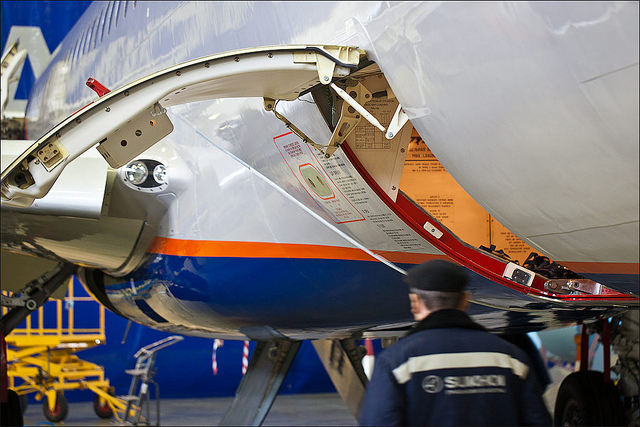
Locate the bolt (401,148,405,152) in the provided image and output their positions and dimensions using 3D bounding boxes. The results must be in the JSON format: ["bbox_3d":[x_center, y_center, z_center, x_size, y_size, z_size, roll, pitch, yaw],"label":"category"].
[{"bbox_3d":[0.574,-0.445,3.444,0.023,0.027,0.006,7,-20,-12],"label":"bolt"}]

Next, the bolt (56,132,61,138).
[{"bbox_3d":[-1.662,-0.503,3.154,0.025,0.024,0.026,7,-20,-10],"label":"bolt"}]

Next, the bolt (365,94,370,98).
[{"bbox_3d":[0.303,-0.757,3.168,0.021,0.023,0.005,4,2,11],"label":"bolt"}]

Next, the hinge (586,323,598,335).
[{"bbox_3d":[2.649,1.132,4.852,0.072,0.097,0.100,-5,-19,18],"label":"hinge"}]

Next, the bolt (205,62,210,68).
[{"bbox_3d":[-0.682,-0.907,3.004,0.026,0.028,0.006,-1,2,-2],"label":"bolt"}]

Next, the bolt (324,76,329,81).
[{"bbox_3d":[0.037,-0.789,2.879,0.026,0.025,0.008,-1,-20,12],"label":"bolt"}]

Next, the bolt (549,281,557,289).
[{"bbox_3d":[1.678,0.520,3.574,0.047,0.051,0.013,1,-17,9],"label":"bolt"}]

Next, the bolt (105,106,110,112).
[{"bbox_3d":[-1.339,-0.663,3.123,0.027,0.029,0.007,2,6,22],"label":"bolt"}]

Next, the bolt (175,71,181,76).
[{"bbox_3d":[-0.868,-0.867,3.037,0.023,0.025,0.006,4,5,-15],"label":"bolt"}]

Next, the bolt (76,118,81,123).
[{"bbox_3d":[-1.517,-0.589,3.113,0.024,0.025,0.006,8,6,3],"label":"bolt"}]

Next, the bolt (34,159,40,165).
[{"bbox_3d":[-1.816,-0.339,3.182,0.027,0.030,0.008,-1,15,12],"label":"bolt"}]

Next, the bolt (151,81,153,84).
[{"bbox_3d":[-1.036,-0.815,3.056,0.003,0.010,0.007,7,0,25],"label":"bolt"}]

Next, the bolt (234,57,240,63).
[{"bbox_3d":[-0.500,-0.933,2.982,0.028,0.030,0.008,1,3,-8],"label":"bolt"}]

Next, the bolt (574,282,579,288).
[{"bbox_3d":[1.925,0.537,3.729,0.033,0.036,0.011,-9,-6,26],"label":"bolt"}]

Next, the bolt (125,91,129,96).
[{"bbox_3d":[-1.199,-0.749,3.078,0.023,0.013,0.015,12,-21,-23],"label":"bolt"}]

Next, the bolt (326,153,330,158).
[{"bbox_3d":[0.052,-0.410,3.454,0.018,0.020,0.004,2,16,20],"label":"bolt"}]

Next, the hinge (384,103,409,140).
[{"bbox_3d":[0.463,-0.566,2.998,0.088,0.275,0.063,39,-44,-18],"label":"hinge"}]

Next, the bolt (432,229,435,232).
[{"bbox_3d":[0.813,0.122,3.561,0.014,0.019,0.003,3,-19,1],"label":"bolt"}]
